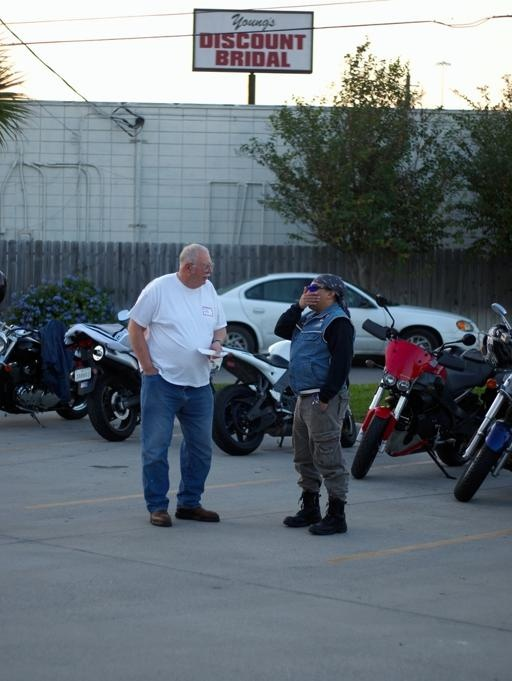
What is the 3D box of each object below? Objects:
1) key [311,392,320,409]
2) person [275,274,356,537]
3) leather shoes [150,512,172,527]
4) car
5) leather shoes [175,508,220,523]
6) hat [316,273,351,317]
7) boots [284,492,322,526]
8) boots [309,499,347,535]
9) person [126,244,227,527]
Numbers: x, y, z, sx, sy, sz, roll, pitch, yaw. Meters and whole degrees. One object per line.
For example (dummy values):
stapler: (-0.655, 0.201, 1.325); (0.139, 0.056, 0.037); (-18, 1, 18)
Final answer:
key: (0.362, 0.373, 5.206); (0.031, 0.073, 0.058); (2, 8, -18)
person: (0.409, 0.404, 5.407); (0.419, 1.628, 0.674); (1, 7, -20)
leather shoes: (-0.603, 1.134, 5.301); (0.133, 0.079, 0.156); (2, 7, -9)
car: (1.587, -0.465, 15.206); (4.355, 1.273, 1.849); (-2, 4, -4)
leather shoes: (-0.394, 1.153, 5.566); (0.307, 0.098, 0.099); (0, 0, 18)
hat: (0.459, -0.305, 5.549); (0.308, 0.334, 0.216); (-3, 1, 1)
boots: (0.255, 1.109, 5.516); (0.352, 0.231, 0.131); (-2, 3, -31)
boots: (0.475, 1.114, 5.230); (0.325, 0.261, 0.133); (0, 2, -8)
person: (-0.505, 0.299, 5.578); (0.651, 1.855, 0.864); (7, 8, 25)
